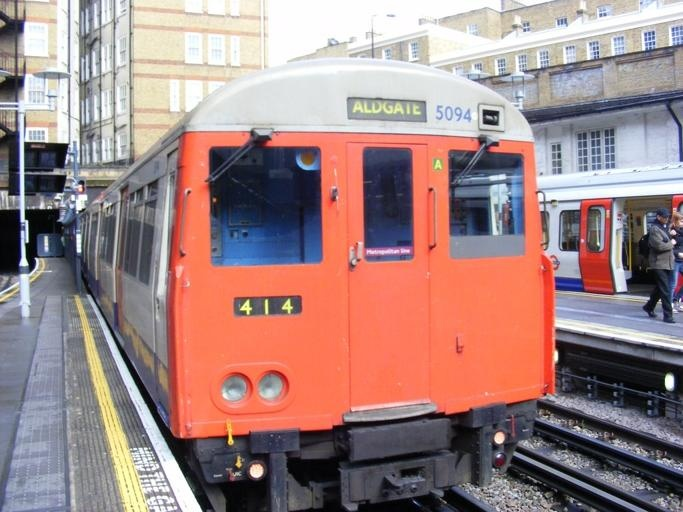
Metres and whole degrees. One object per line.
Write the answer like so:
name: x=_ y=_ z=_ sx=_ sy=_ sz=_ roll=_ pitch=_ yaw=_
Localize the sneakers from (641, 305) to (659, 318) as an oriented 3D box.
sneakers: x=6.378 y=1.135 z=13.595 sx=0.156 sy=0.236 sz=0.497 roll=3 pitch=5 yaw=-15
